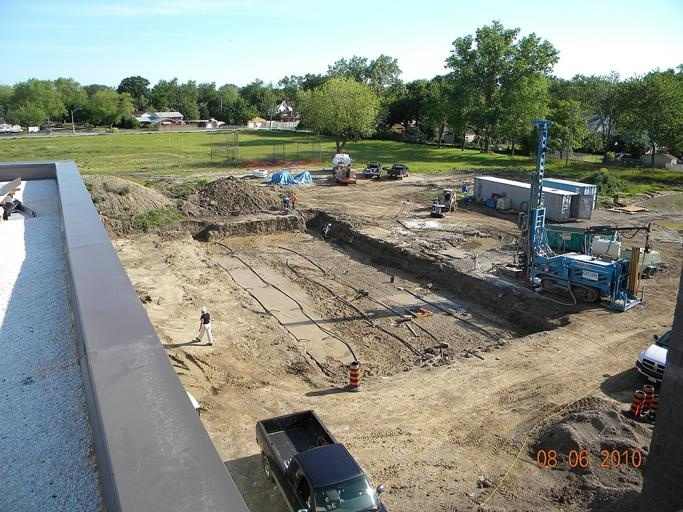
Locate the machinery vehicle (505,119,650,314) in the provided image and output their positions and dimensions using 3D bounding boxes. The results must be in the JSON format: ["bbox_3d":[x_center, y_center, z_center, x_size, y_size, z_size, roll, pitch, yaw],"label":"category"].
[{"bbox_3d":[11.219,-2.032,20.053,1.418,8.731,4.918,-14,18,-41],"label":"machinery vehicle"}]
